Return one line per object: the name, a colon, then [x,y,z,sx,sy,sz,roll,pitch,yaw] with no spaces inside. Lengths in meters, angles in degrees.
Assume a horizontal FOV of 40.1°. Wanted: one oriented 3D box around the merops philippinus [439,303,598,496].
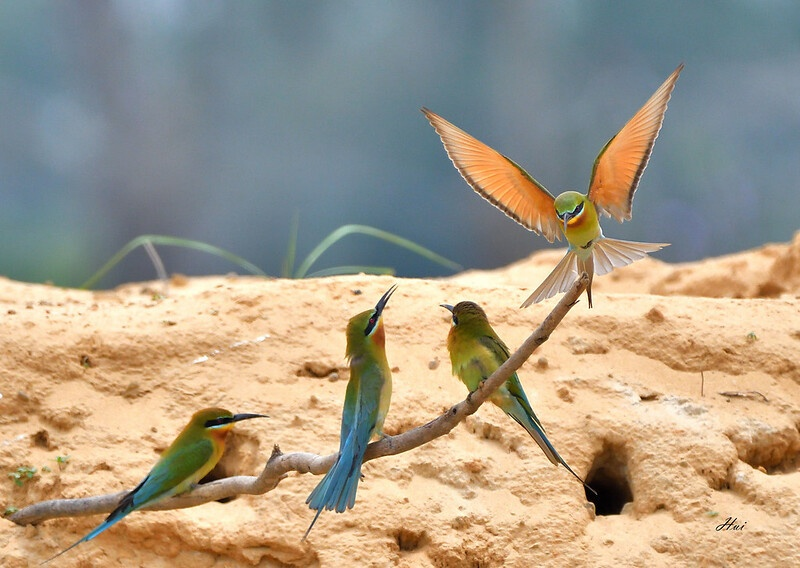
merops philippinus: [0.739,0.650,7.539,1.195,0.833,0.375,19,-22,-5]
